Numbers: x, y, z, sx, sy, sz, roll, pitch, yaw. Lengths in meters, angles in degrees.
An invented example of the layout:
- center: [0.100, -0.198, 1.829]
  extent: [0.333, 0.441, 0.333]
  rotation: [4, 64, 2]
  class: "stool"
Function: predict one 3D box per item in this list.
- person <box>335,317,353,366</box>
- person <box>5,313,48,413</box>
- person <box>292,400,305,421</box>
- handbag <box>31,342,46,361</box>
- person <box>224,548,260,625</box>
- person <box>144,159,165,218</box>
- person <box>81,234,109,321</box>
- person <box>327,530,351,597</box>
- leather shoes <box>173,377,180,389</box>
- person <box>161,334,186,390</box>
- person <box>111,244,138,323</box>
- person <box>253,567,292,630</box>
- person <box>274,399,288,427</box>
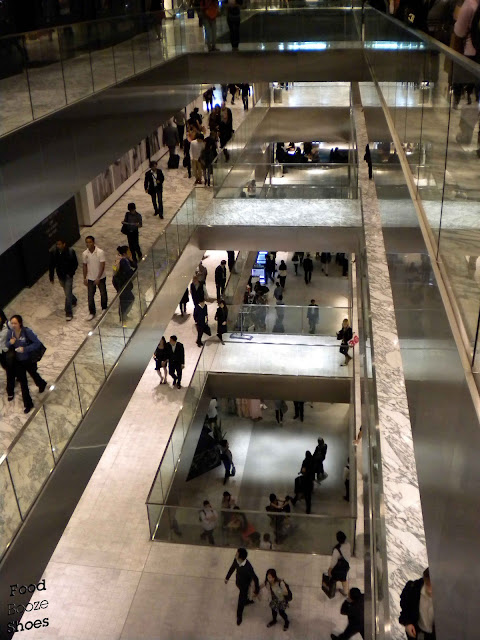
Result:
- center: [3.167, 0.599, 13.743]
  extent: [0.411, 1.607, 0.927]
  rotation: [-4, 23, 0]
  class: "person"
- center: [-3.205, 0.569, 7.024]
  extent: [0.508, 1.229, 0.855]
  rotation: [-16, 26, -27]
  class: "person"
- center: [2.225, 3.279, 17.461]
  extent: [0.408, 0.832, 0.724]
  rotation: [-1, 24, 7]
  class: "person"
- center: [-3.106, 0.481, 7.113]
  extent: [0.115, 0.243, 0.195]
  rotation: [16, 59, -5]
  class: "handbag"
- center: [0.064, 4.666, 8.332]
  extent: [0.534, 1.163, 0.785]
  rotation: [-10, 24, -15]
  class: "person"
- center: [-2.562, -3.957, 13.965]
  extent: [0.541, 1.806, 2.115]
  rotation: [-8, 25, -10]
  class: "person"
- center: [-2.906, -0.943, 9.208]
  extent: [0.484, 1.588, 0.846]
  rotation: [-12, 24, -19]
  class: "person"
- center: [1.820, 4.436, 8.414]
  extent: [0.455, 1.704, 0.675]
  rotation: [-6, 46, 3]
  class: "person"
- center: [-1.791, 1.814, 13.279]
  extent: [0.165, 0.299, 0.347]
  rotation: [7, 5, 5]
  class: "leather shoes"
- center: [-1.791, 1.142, 12.859]
  extent: [0.503, 1.856, 0.919]
  rotation: [-9, 23, -11]
  class: "person"
- center: [-2.298, -0.779, 9.318]
  extent: [0.475, 0.997, 2.030]
  rotation: [-10, 26, -13]
  class: "person"
- center: [0.553, 4.793, 7.984]
  extent: [0.604, 1.177, 0.299]
  rotation: [-3, 10, 6]
  class: "person"
- center: [1.523, 3.335, 17.355]
  extent: [0.365, 0.865, 0.691]
  rotation: [0, 24, 11]
  class: "person"
